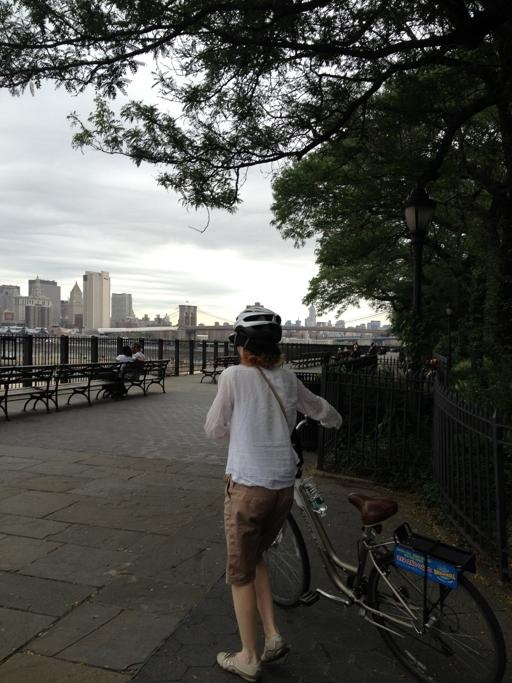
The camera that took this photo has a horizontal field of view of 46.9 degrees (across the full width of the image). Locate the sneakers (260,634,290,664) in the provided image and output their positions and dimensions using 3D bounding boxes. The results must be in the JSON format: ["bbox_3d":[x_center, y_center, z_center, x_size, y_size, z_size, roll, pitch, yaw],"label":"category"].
[{"bbox_3d":[0.077,1.462,2.807,0.074,0.094,0.204,-23,-25,-27],"label":"sneakers"}]

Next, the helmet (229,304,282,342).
[{"bbox_3d":[0.004,-0.083,2.861,0.156,0.137,0.212,2,-4,-41],"label":"helmet"}]

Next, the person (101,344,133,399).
[{"bbox_3d":[-3.594,0.839,15.359,0.473,0.854,1.312,0,1,1],"label":"person"}]

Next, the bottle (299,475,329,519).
[{"bbox_3d":[0.307,0.825,3.122,0.140,0.212,0.066,-23,-2,-30],"label":"bottle"}]
